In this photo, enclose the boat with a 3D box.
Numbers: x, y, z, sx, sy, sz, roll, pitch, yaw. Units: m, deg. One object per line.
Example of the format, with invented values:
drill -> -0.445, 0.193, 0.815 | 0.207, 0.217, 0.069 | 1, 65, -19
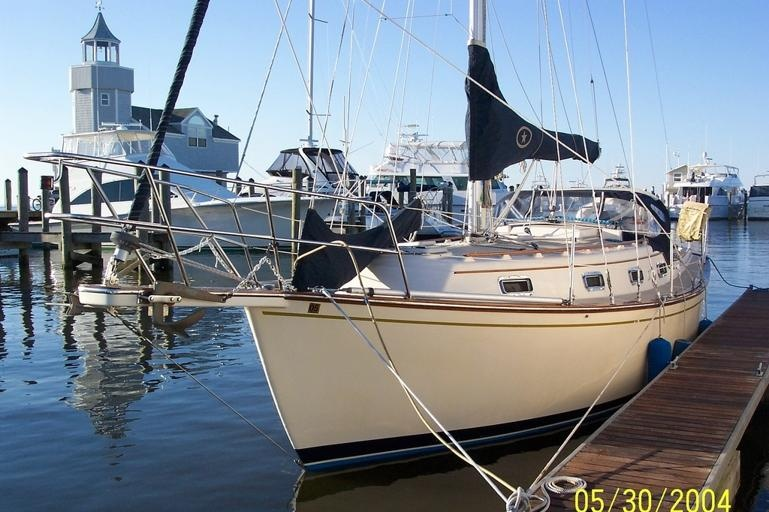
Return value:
boat -> 0.275, 0.168, 11.641 | 9.880, 7.937, 3.621 | -3, 4, -40
